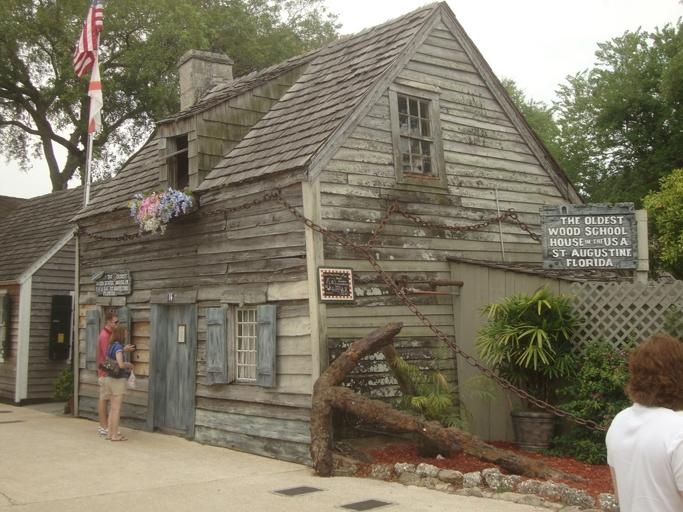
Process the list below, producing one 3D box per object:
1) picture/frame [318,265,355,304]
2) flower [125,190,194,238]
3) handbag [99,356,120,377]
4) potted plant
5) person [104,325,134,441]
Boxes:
[{"bbox_3d":[-0.078,0.415,9.326,0.661,0.498,0.082,4,-9,-44],"label":"picture/frame"},{"bbox_3d":[-3.373,-0.922,11.333,1.160,0.471,0.719,-4,-3,-6],"label":"flower"},{"bbox_3d":[-3.951,1.907,10.849,0.485,0.399,0.211,-1,-4,24],"label":"handbag"},{"bbox_3d":[2.680,1.264,8.989,1.314,1.616,0.841,-2,-11,18],"label":"potted plant"},{"bbox_3d":[-3.884,2.232,10.995,0.441,2.008,0.661,5,-11,-17],"label":"person"}]
